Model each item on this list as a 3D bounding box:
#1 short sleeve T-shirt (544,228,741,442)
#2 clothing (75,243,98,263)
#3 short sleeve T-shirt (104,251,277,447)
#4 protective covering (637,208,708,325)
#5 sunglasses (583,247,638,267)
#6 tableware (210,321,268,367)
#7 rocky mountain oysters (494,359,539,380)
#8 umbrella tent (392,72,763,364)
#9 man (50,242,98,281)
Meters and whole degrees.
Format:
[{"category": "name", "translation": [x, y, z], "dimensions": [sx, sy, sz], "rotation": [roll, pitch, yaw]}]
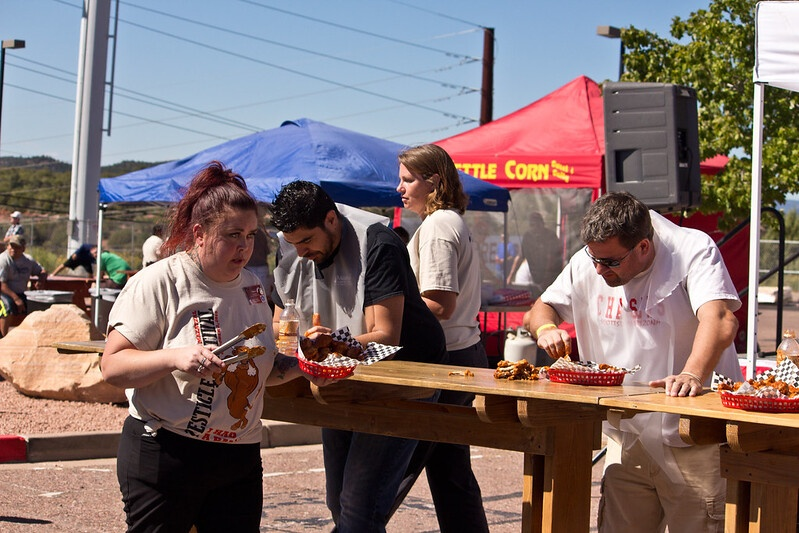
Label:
[{"category": "short sleeve T-shirt", "translation": [1.746, 0.669, 6.316], "dimensions": [1.420, 1.594, 1.170], "rotation": [-9, -8, 31]}, {"category": "clothing", "translation": [-6.533, -0.286, 19.533], "dimensions": [0.476, 0.191, 0.335], "rotation": [-9, -20, -35]}, {"category": "short sleeve T-shirt", "translation": [-1.128, 0.462, 5.141], "dimensions": [0.875, 1.053, 0.330], "rotation": [0, 1, -6]}, {"category": "protective covering", "translation": [1.756, -0.027, 5.843], "dimensions": [0.402, 0.626, 0.309], "rotation": [0, 0, 19]}, {"category": "sunglasses", "translation": [1.283, -0.045, 5.723], "dimensions": [0.271, 0.116, 0.064], "rotation": [0, 0, 23]}, {"category": "tableware", "translation": [-0.849, 0.404, 5.034], "dimensions": [0.148, 0.179, 0.449], "rotation": [0, -1, 33]}, {"category": "rocky mountain oysters", "translation": [0.716, 0.642, 5.707], "dimensions": [0.180, 0.084, 0.143], "rotation": [1, -1, 0]}, {"category": "umbrella tent", "translation": [2.739, -1.101, 17.101], "dimensions": [5.167, 4.421, 5.040], "rotation": [-2, 2, -21]}, {"category": "man", "translation": [-6.784, -0.068, 19.712], "dimensions": [1.017, 0.326, 0.757], "rotation": [-25, -14, 29]}]
